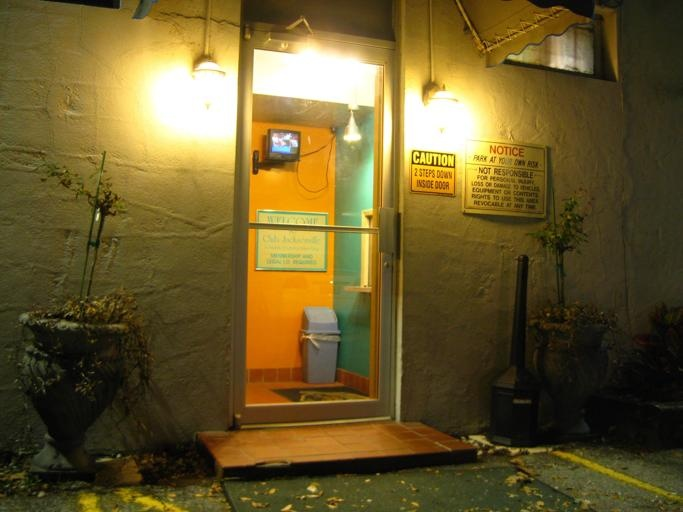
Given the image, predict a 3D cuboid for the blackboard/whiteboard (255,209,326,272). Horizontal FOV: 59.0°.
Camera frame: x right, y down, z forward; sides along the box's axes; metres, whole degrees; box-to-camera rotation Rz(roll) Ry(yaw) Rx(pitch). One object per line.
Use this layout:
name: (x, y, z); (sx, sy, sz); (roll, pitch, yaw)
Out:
blackboard/whiteboard: (-0.535, -0.153, 5.932); (0.604, 0.500, 0.022); (1, -1, -20)

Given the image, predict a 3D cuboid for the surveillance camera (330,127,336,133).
surveillance camera: (-0.088, -1.276, 6.135); (0.058, 0.062, 0.014); (0, 5, -29)

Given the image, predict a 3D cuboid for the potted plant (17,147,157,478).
potted plant: (-2.066, 0.434, 4.939); (0.757, 2.613, 0.888); (3, 5, 5)

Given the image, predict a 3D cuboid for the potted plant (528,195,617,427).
potted plant: (2.391, 0.572, 6.418); (0.841, 2.439, 0.696); (2, 5, -1)

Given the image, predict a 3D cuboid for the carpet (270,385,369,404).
carpet: (-0.204, 1.382, 6.031); (0.952, 0.128, 0.092); (1, 5, -14)
